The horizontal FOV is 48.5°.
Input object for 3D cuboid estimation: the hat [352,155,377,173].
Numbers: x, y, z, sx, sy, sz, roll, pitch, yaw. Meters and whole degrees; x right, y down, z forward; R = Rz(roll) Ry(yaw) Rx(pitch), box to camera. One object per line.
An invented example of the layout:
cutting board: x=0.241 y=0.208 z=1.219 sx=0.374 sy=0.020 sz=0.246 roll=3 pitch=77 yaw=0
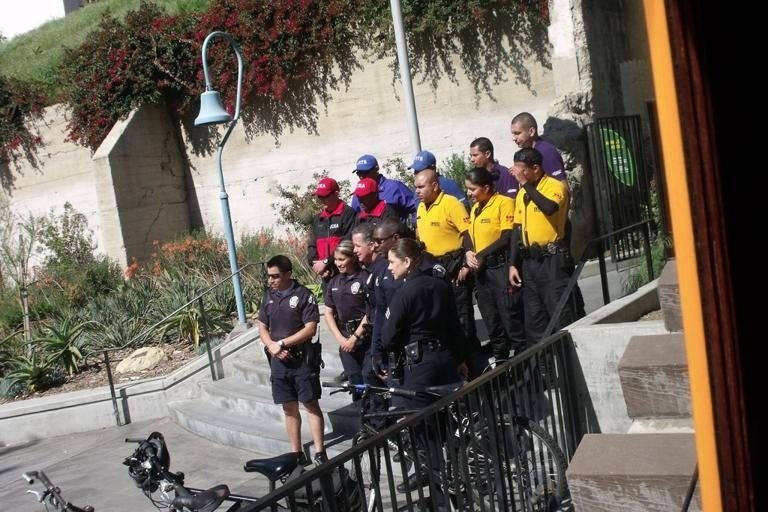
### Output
hat: x=-0.209 y=-1.258 z=11.409 sx=0.222 sy=0.204 sz=0.326 roll=-1 pitch=7 yaw=38

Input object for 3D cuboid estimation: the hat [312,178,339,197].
hat: x=-0.743 y=-0.914 z=11.211 sx=0.197 sy=0.179 sz=0.302 roll=1 pitch=5 yaw=39

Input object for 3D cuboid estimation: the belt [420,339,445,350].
belt: x=0.465 y=0.933 z=8.858 sx=0.155 sy=0.080 sz=0.131 roll=-1 pitch=1 yaw=-3

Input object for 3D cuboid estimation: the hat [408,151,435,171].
hat: x=0.490 y=-1.261 z=11.280 sx=0.312 sy=0.202 sz=0.228 roll=-5 pitch=8 yaw=-21
